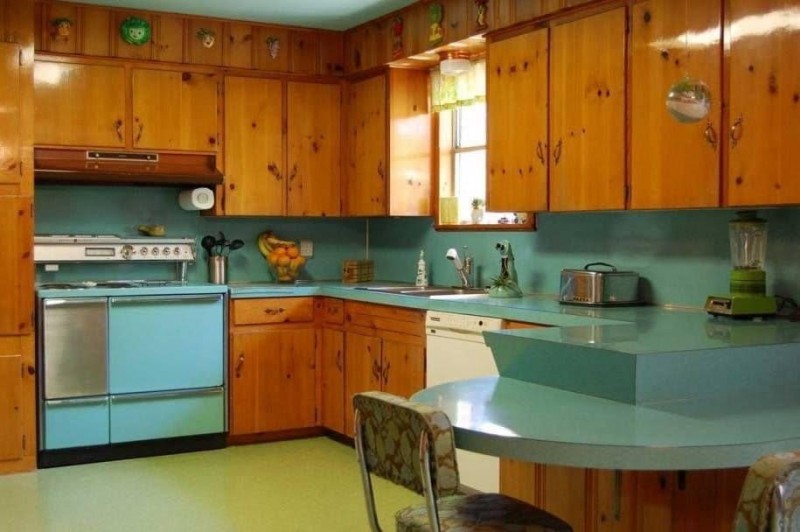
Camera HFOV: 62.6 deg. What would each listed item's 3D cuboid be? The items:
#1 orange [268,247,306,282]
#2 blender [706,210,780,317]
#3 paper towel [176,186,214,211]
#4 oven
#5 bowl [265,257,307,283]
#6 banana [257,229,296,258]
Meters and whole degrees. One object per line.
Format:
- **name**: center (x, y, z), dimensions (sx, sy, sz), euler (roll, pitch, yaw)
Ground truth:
- **orange**: center (-0.909, -0.032, 5.468), dimensions (0.301, 0.278, 0.299), euler (0, 3, 9)
- **blender**: center (1.717, -0.017, 3.271), dimensions (0.297, 0.514, 0.410), euler (4, 6, 35)
- **paper towel**: center (-1.611, -0.491, 5.177), dimensions (0.189, 0.188, 0.250), euler (5, 1, -27)
- **oven**: center (-1.943, 0.814, 4.638), dimensions (1.200, 1.088, 0.583), euler (0, -2, -26)
- **bowl**: center (-0.939, 0.024, 5.493), dimensions (0.253, 0.158, 0.250), euler (-1, 3, 0)
- **banana**: center (-1.011, -0.181, 5.516), dimensions (0.337, 0.183, 0.167), euler (17, 18, 28)
